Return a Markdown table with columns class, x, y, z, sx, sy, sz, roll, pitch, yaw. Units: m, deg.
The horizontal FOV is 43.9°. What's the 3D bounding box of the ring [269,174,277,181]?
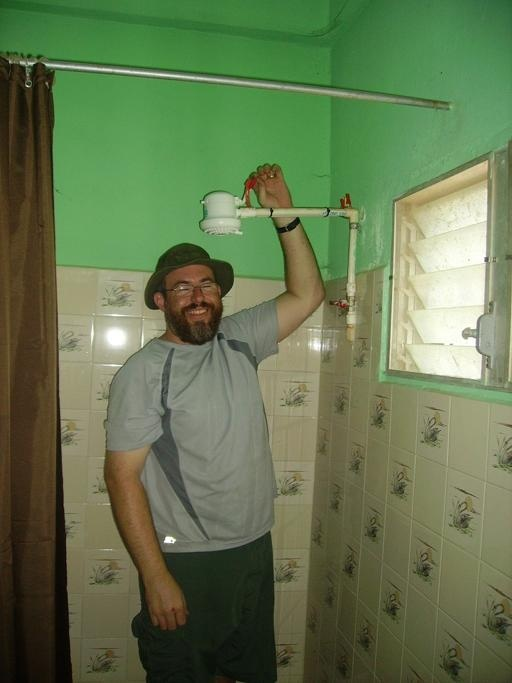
| class | x | y | z | sx | sy | sz | roll | pitch | yaw |
| --- | --- | --- | --- | --- | --- | --- | --- | --- | --- |
| ring | 0.049 | -0.486 | 1.874 | 0.017 | 0.004 | 0.016 | -3 | -13 | -1 |
